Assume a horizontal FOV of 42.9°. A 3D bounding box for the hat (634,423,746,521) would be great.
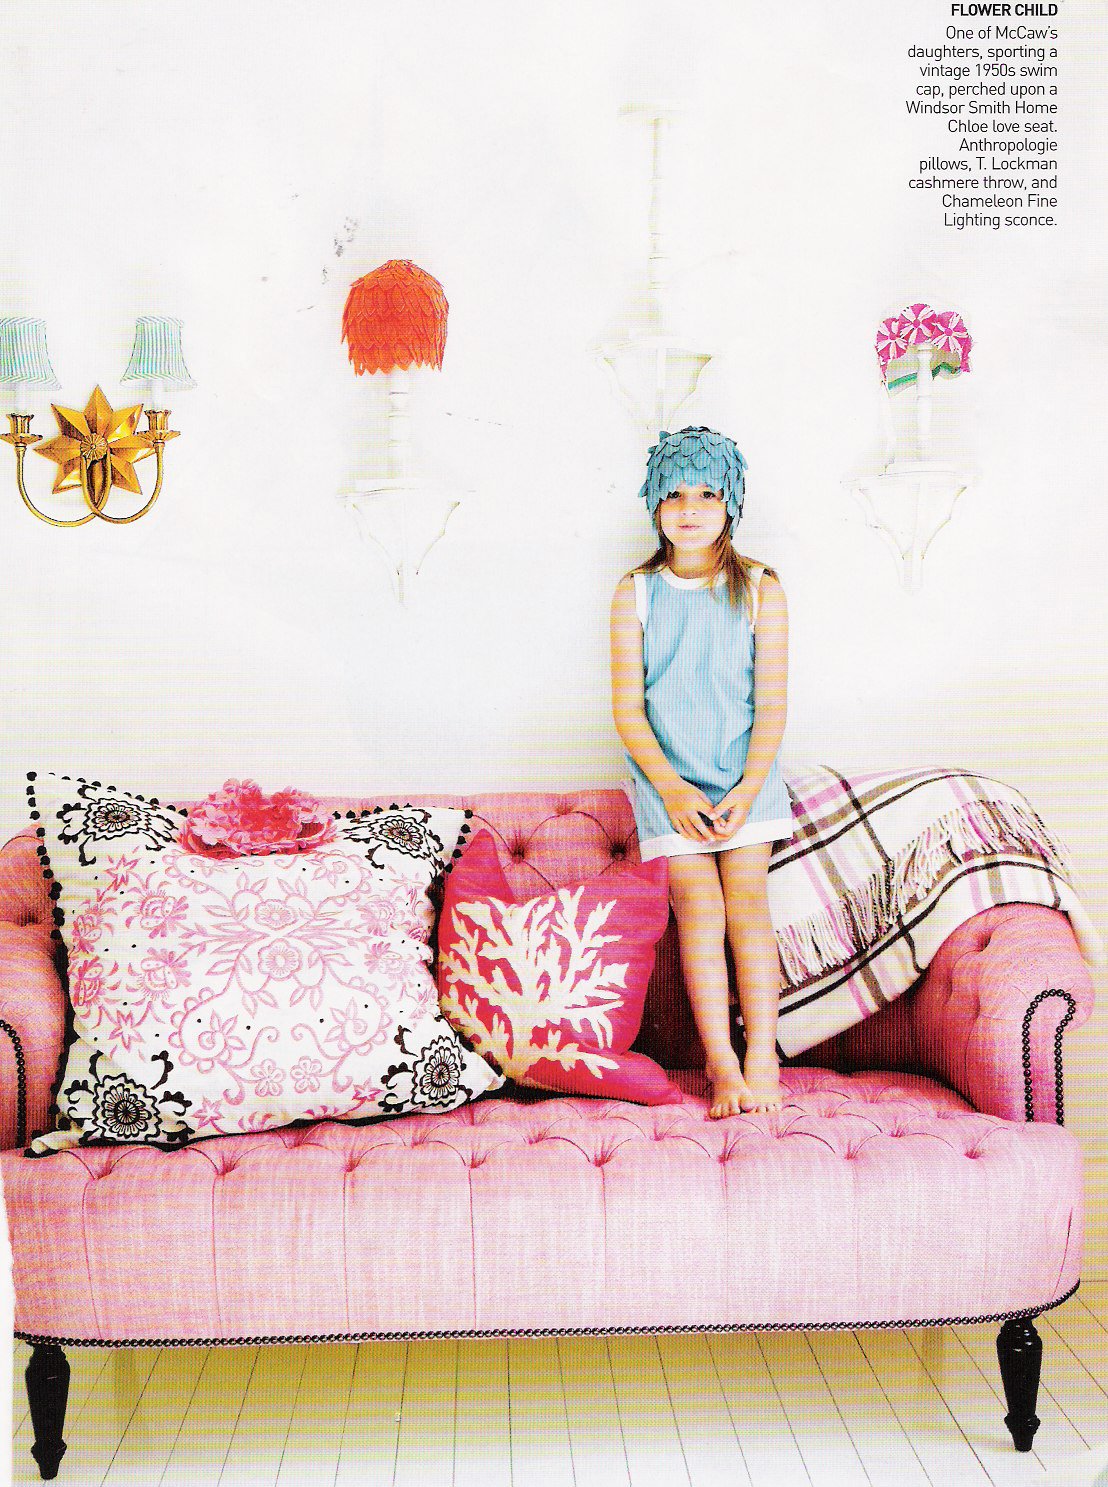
[{"bbox_3d":[0.209,-0.400,2.104,0.117,0.144,0.143,3,-12,-10],"label":"hat"}]
